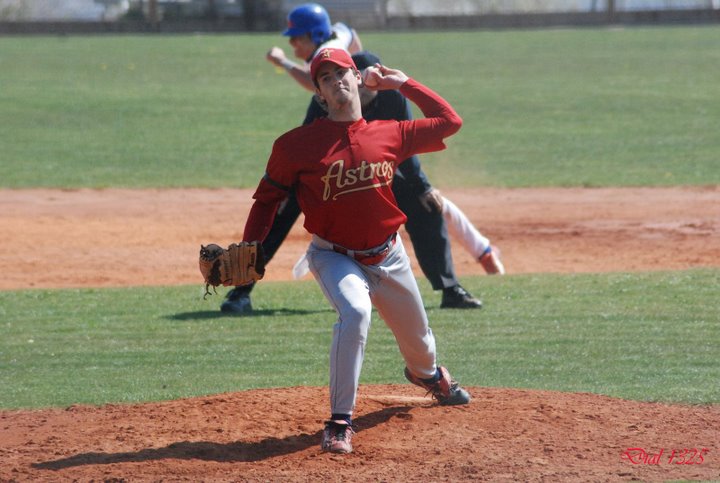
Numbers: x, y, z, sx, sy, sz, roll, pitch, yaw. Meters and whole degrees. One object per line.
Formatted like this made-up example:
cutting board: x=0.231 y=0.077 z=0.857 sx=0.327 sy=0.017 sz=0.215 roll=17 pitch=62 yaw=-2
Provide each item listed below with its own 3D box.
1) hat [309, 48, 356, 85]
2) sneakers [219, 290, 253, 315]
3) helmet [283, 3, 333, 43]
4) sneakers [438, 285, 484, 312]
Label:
hat: x=-0.337 y=-2.200 z=19.484 sx=0.555 sy=0.487 sz=0.255 roll=-1 pitch=10 yaw=-4
sneakers: x=-1.728 y=0.843 z=21.788 sx=0.237 sy=0.218 sz=0.541 roll=-1 pitch=-5 yaw=14
helmet: x=-0.704 y=-3.052 z=21.630 sx=0.705 sy=0.438 sz=0.464 roll=-21 pitch=31 yaw=-3
sneakers: x=1.410 y=0.761 z=21.714 sx=0.625 sy=0.256 sz=0.268 roll=-1 pitch=16 yaw=-5
